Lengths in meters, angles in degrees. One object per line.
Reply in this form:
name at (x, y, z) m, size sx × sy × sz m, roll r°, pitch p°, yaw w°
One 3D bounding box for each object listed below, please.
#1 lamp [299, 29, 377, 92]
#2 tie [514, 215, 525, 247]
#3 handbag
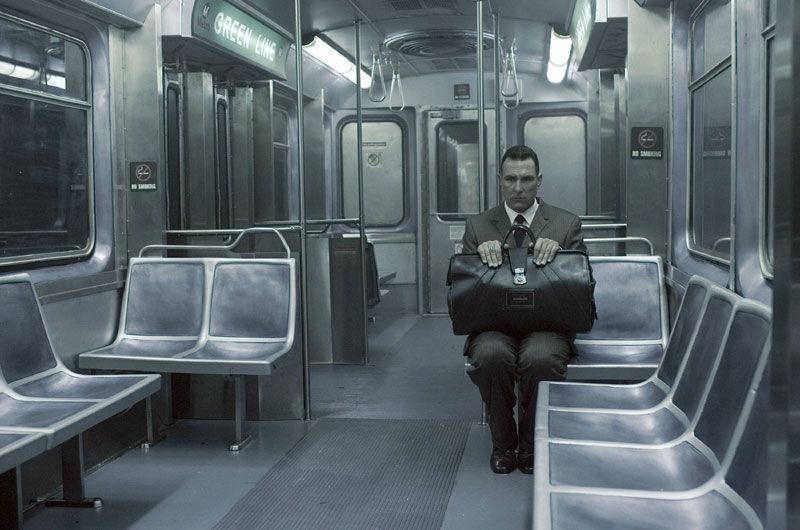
lamp at (-0.670, -1.880, 5.688) m, size 0.528 × 0.399 × 0.166 m, roll -6°, pitch 8°, yaw -29°
tie at (0.742, -0.205, 3.827) m, size 0.090 × 0.169 × 0.033 m, roll 0°, pitch -2°, yaw 11°
handbag at (0.699, 0.091, 3.545) m, size 0.625 × 0.474 × 0.259 m, roll 1°, pitch 15°, yaw 6°
